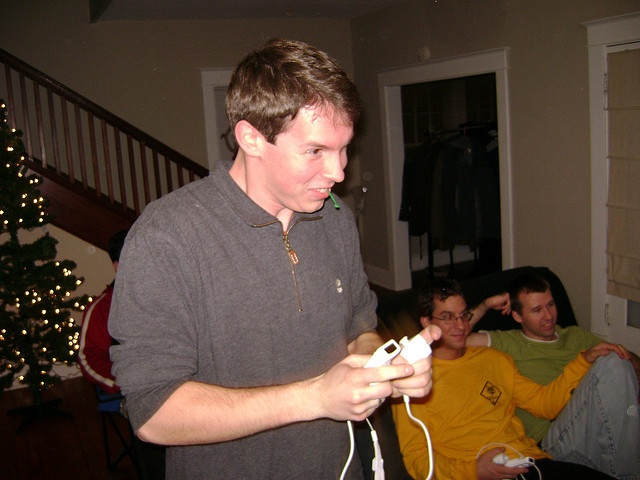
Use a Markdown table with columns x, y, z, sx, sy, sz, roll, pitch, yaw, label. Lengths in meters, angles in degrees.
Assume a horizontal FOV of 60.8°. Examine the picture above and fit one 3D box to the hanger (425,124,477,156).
| x | y | z | sx | sy | sz | roll | pitch | yaw | label |
| --- | --- | --- | --- | --- | --- | --- | --- | --- | --- |
| 1.523 | -1.092 | 5.957 | 0.353 | 0.173 | 0.490 | 16 | 27 | 35 | hanger |
